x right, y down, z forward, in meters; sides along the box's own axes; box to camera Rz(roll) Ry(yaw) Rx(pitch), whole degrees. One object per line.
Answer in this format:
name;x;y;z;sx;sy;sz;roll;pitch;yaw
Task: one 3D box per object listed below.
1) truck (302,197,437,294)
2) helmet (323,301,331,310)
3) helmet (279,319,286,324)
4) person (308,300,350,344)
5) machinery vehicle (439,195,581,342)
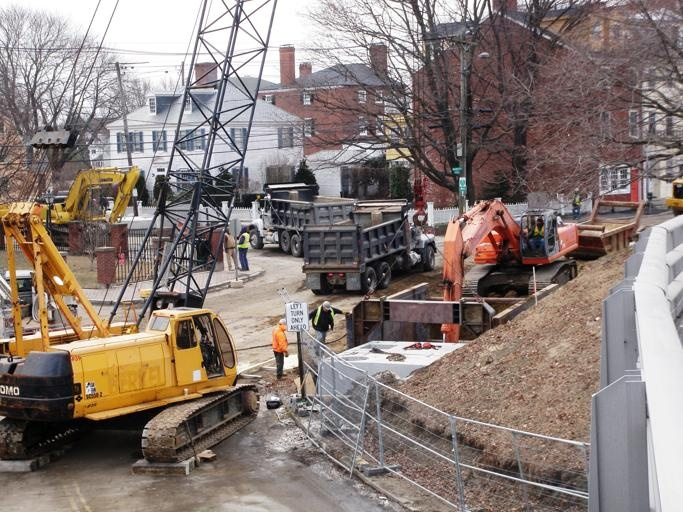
truck;1.053;-0.475;29.841;2.183;2.494;5.828;2;9;29
helmet;-0.304;1.100;20.297;0.141;0.187;0.182;-4;24;-8
helmet;-1.274;1.426;19.690;0.160;0.097;0.164;0;-1;9
person;-0.410;1.507;20.581;0.565;1.021;0.757;-5;6;-3
machinery vehicle;3.593;-0.089;22.968;2.097;2.388;5.998;0;6;31
